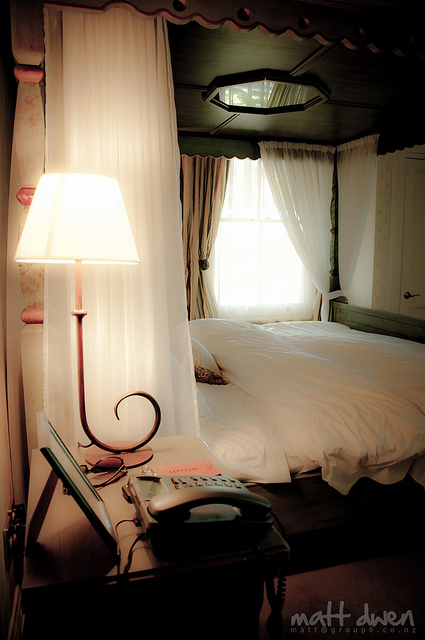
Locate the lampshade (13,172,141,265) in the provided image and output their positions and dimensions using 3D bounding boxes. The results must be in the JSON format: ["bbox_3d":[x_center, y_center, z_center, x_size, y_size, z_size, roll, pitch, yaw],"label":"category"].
[{"bbox_3d":[-0.316,-0.228,1.052,0.275,0.203,0.286,3,3,10],"label":"lampshade"}]

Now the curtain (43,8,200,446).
[{"bbox_3d":[-0.277,-0.288,1.421,0.488,1.389,0.201,-2,8,-30],"label":"curtain"}]

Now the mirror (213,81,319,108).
[{"bbox_3d":[0.304,-1.296,2.545,0.567,0.042,0.453,1,8,-11],"label":"mirror"}]

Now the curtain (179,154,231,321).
[{"bbox_3d":[-0.070,-0.695,4.314,0.487,1.822,0.185,4,43,6],"label":"curtain"}]

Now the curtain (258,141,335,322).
[{"bbox_3d":[0.745,-0.900,3.920,0.747,1.317,0.166,-1,8,-27],"label":"curtain"}]

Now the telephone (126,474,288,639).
[{"bbox_3d":[-0.015,0.448,0.822,0.282,0.106,0.318,16,17,-26],"label":"telephone"}]

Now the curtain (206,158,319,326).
[{"bbox_3d":[0.427,-0.790,4.167,1.378,2.041,0.097,-2,-1,-20],"label":"curtain"}]
